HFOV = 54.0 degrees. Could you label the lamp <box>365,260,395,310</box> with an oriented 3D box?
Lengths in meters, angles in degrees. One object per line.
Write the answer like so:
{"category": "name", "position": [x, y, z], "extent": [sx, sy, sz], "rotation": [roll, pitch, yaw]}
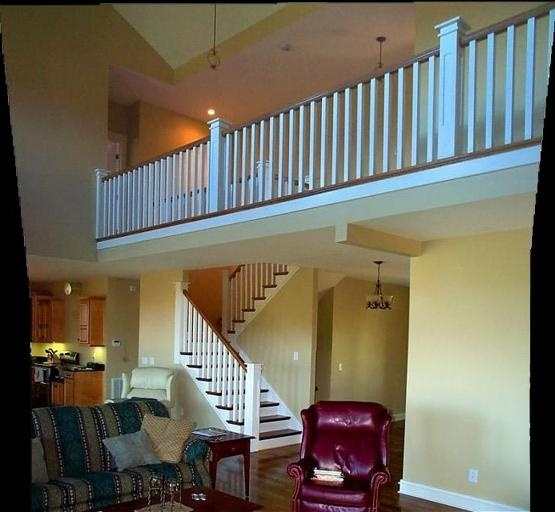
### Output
{"category": "lamp", "position": [1.640, 0.478, 8.827], "extent": [0.354, 0.757, 0.346], "rotation": [1, -8, 6]}

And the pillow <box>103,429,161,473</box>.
{"category": "pillow", "position": [-1.195, 1.619, 4.511], "extent": [0.283, 0.101, 0.314], "rotation": [7, 27, -32]}

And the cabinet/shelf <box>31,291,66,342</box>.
{"category": "cabinet/shelf", "position": [-4.360, 1.173, 10.428], "extent": [0.433, 1.215, 1.144], "rotation": [5, -8, -40]}

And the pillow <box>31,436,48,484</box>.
{"category": "pillow", "position": [-1.715, 1.498, 3.943], "extent": [0.105, 0.274, 0.261], "rotation": [2, -6, -23]}

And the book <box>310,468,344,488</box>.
{"category": "book", "position": [0.397, 1.775, 4.379], "extent": [0.310, 0.077, 0.219], "rotation": [-5, -9, 37]}
